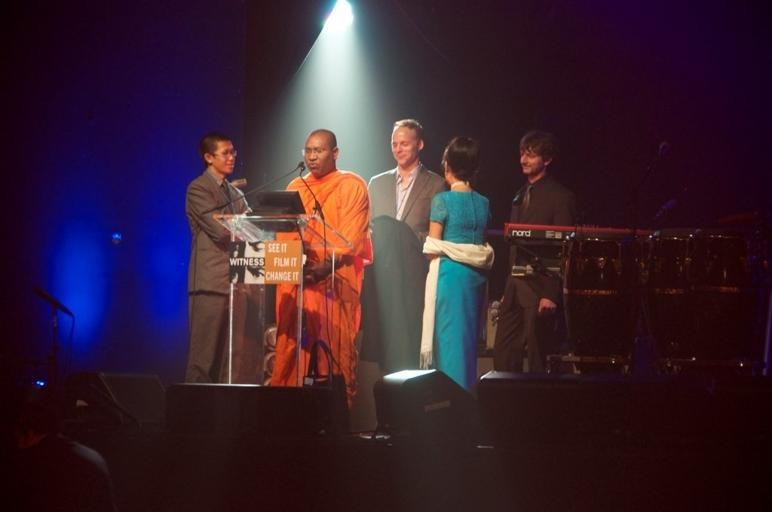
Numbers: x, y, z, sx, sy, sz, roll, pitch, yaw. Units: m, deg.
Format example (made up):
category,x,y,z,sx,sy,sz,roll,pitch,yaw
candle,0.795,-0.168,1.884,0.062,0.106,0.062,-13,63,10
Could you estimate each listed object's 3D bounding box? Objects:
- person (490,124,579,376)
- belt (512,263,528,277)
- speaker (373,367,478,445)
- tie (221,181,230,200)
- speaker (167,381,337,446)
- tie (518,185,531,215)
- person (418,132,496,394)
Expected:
category,x,y,z,sx,sy,sz,roll,pitch,yaw
person,1.405,-0.072,6.461,0.528,2.302,0.651,4,-7,-38
belt,1.262,0.139,6.346,0.176,0.110,0.070,-1,-6,13
speaker,0.274,1.010,4.535,0.674,0.464,0.218,0,-5,3
tie,-1.559,-0.644,6.575,0.036,0.152,0.106,0,10,14
speaker,-0.968,1.075,4.735,1.155,0.339,0.131,-1,-5,7
tie,1.361,-0.547,6.611,0.078,0.248,0.166,8,-19,-19
person,0.627,0.067,6.023,0.636,2.227,0.303,0,-5,1
